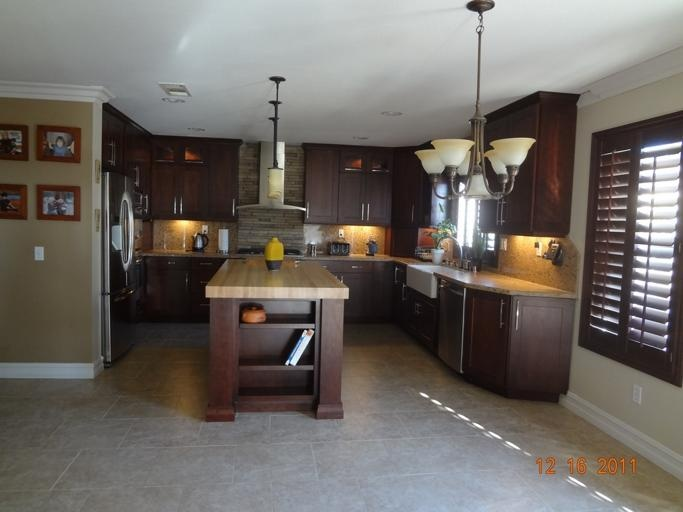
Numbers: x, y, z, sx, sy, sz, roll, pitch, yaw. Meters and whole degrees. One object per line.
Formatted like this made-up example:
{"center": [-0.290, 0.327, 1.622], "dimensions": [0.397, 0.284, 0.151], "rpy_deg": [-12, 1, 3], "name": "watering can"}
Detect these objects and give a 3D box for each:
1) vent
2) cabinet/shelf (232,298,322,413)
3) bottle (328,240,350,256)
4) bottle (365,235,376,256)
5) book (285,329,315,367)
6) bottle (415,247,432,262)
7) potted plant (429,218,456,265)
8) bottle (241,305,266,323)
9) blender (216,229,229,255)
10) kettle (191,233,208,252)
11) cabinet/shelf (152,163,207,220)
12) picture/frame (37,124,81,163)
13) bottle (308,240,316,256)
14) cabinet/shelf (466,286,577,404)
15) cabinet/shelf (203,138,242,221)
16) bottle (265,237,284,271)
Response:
{"center": [-1.144, -1.207, 8.013], "dimensions": [1.031, 1.092, 0.976], "rpy_deg": [1, -1, -22], "name": "vent"}
{"center": [-0.612, 0.967, 4.729], "dimensions": [0.972, 1.483, 0.430], "rpy_deg": [0, -1, -5], "name": "cabinet/shelf"}
{"center": [-0.036, -0.120, 8.101], "dimensions": [0.368, 0.201, 0.339], "rpy_deg": [1, 12, 0], "name": "bottle"}
{"center": [0.486, -0.144, 8.206], "dimensions": [0.175, 0.259, 0.266], "rpy_deg": [2, 12, 2], "name": "bottle"}
{"center": [-0.387, 0.852, 4.689], "dimensions": [0.072, 0.311, 0.297], "rpy_deg": [29, -20, -4], "name": "book"}
{"center": [1.218, -0.018, 7.527], "dimensions": [0.187, 0.129, 0.345], "rpy_deg": [0, 1, -2], "name": "bottle"}
{"center": [1.476, -0.203, 7.200], "dimensions": [0.355, 0.581, 0.646], "rpy_deg": [2, 12, 6], "name": "potted plant"}
{"center": [-0.815, 0.540, 4.707], "dimensions": [0.214, 0.134, 0.258], "rpy_deg": [-1, 12, -13], "name": "bottle"}
{"center": [-1.786, -0.219, 7.722], "dimensions": [0.168, 0.354, 0.478], "rpy_deg": [-2, 12, -13], "name": "blender"}
{"center": [-2.157, -0.200, 7.883], "dimensions": [0.289, 0.307, 0.195], "rpy_deg": [6, -4, -43], "name": "kettle"}
{"center": [-2.447, -0.991, 7.597], "dimensions": [0.760, 0.822, 0.355], "rpy_deg": [0, 2, -8], "name": "cabinet/shelf"}
{"center": [-2.913, -1.154, 5.215], "dimensions": [0.362, 0.367, 0.028], "rpy_deg": [1, 3, -7], "name": "picture/frame"}
{"center": [-0.464, -0.109, 8.133], "dimensions": [0.165, 0.329, 0.172], "rpy_deg": [0, 4, 0], "name": "bottle"}
{"center": [1.714, 0.854, 5.580], "dimensions": [0.952, 1.472, 1.001], "rpy_deg": [2, 4, -5], "name": "cabinet/shelf"}
{"center": [-1.767, -1.140, 7.677], "dimensions": [0.500, 1.193, 0.183], "rpy_deg": [-2, 12, -16], "name": "cabinet/shelf"}
{"center": [-0.726, -0.031, 5.487], "dimensions": [0.182, 0.331, 0.244], "rpy_deg": [-1, 12, -10], "name": "bottle"}
